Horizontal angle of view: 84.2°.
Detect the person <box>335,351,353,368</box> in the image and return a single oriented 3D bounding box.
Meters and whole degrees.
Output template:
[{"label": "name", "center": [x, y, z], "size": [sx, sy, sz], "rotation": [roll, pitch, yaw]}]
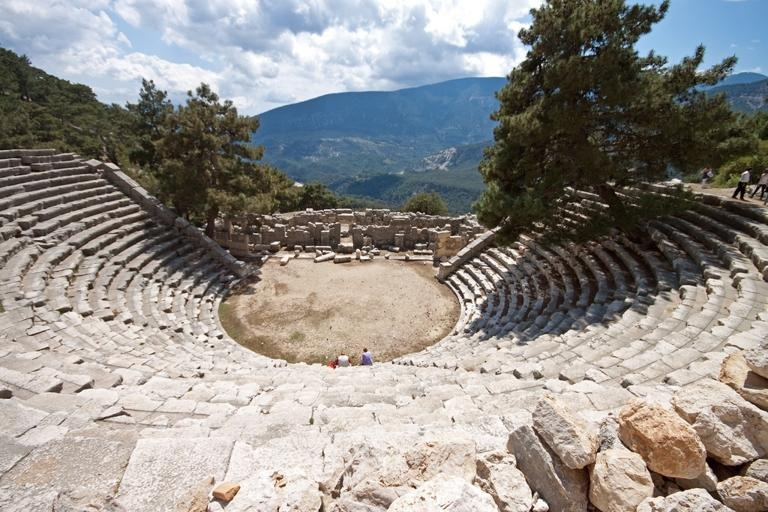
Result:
[{"label": "person", "center": [-1.524, 4.075, 16.436], "size": [0.612, 0.765, 0.831], "rotation": [2, 1, 4]}]
